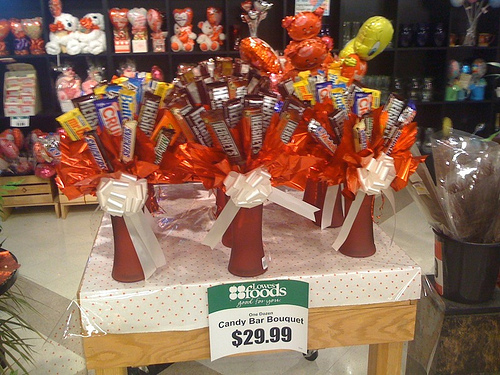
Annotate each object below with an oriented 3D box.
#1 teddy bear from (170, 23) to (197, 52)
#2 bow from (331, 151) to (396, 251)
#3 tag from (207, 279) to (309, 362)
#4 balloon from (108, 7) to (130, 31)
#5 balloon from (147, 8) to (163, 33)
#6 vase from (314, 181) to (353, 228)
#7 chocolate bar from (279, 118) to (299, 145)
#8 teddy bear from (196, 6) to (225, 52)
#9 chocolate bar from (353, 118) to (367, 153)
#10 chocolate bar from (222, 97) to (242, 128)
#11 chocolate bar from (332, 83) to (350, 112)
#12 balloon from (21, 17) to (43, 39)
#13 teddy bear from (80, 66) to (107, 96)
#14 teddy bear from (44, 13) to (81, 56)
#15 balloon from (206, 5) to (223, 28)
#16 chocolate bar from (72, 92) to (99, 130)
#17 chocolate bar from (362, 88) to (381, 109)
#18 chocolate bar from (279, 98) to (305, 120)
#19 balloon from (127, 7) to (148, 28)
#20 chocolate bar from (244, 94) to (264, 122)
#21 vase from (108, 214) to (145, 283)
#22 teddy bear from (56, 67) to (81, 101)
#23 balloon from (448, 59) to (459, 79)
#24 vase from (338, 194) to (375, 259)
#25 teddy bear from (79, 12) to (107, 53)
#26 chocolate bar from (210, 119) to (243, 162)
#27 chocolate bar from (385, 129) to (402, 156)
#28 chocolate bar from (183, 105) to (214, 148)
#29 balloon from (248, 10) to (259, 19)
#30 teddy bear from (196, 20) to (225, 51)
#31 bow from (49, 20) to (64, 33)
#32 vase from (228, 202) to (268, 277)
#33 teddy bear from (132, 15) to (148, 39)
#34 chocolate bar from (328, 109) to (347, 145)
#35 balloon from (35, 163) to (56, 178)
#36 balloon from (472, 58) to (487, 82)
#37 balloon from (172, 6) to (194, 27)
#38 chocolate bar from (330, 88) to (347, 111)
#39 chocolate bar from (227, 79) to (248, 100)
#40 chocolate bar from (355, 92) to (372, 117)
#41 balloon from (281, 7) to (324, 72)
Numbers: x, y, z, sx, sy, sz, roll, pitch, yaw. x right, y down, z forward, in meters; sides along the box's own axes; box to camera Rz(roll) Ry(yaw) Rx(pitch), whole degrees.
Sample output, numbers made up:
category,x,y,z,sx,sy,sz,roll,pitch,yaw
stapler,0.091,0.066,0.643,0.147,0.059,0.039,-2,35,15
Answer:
category,x,y,z,sx,sy,sz,roll,pitch,yaw
teddy bear,-0.614,-1.381,3.393,0.268,0.265,0.187,0,26,-3
bow,0.334,0.046,0.966,0.212,0.293,0.110,-15,24,-29
tag,0.024,0.319,0.907,0.254,0.195,0.041,-5,21,-7
balloon,-1.136,-1.475,3.293,0.263,0.219,0.160,-5,30,-8
balloon,-0.868,-1.524,3.385,0.163,0.174,0.087,25,28,25
vase,0.241,0.046,1.059,0.121,0.146,0.097,-7,21,-12
chocolate bar,0.088,-0.127,0.848,0.037,0.063,0.027,-21,27,-39
teddy bear,-0.345,-1.457,3.420,0.302,0.391,0.146,-19,25,-36
chocolate bar,0.266,-0.116,0.884,0.034,0.072,0.025,2,22,15
chocolate bar,-0.037,-0.157,0.795,0.042,0.062,0.033,-4,20,-1
chocolate bar,0.248,-0.235,0.966,0.019,0.067,0.061,-7,12,-2
balloon,-1.928,-1.394,3.248,0.154,0.139,0.146,-14,28,27
teddy bear,-1.406,-0.950,3.274,0.214,0.230,0.461,-9,19,-16
teddy bear,-1.645,-1.340,3.222,0.270,0.305,0.217,-7,37,-38
balloon,-0.332,-1.565,3.415,0.154,0.187,0.134,-13,22,-25
chocolate bar,-0.363,-0.166,0.819,0.050,0.076,0.078,-12,21,-21
chocolate bar,0.315,-0.224,0.936,0.053,0.046,0.014,-3,9,-41
chocolate bar,0.095,-0.178,0.828,0.053,0.047,0.013,22,3,-1
balloon,-1.005,-1.494,3.289,0.178,0.145,0.160,-15,17,-22
chocolate bar,0.009,-0.176,0.785,0.042,0.034,0.028,1,18,1
vase,-0.307,0.151,0.879,0.084,0.164,0.036,7,24,26
teddy bear,-1.582,-0.890,3.194,0.205,0.276,0.301,-13,22,-26
balloon,2.149,-1.243,3.897,0.106,0.153,0.142,2,2,-41
vase,0.293,0.105,0.975,0.095,0.174,0.040,-9,22,-14
teddy bear,-1.399,-1.351,3.246,0.240,0.333,0.149,-9,21,-16
chocolate bar,-0.050,-0.099,0.775,0.041,0.072,0.055,-6,25,-17
chocolate bar,0.350,-0.111,0.898,0.012,0.077,0.011,17,30,-17
chocolate bar,-0.102,-0.134,0.847,0.070,0.091,0.023,-9,34,34
balloon,0.020,-0.880,1.886,0.041,0.025,0.038,-8,23,-20
teddy bear,-0.362,-1.393,3.424,0.371,0.334,0.185,-2,32,-6
bow,-1.660,-1.374,3.156,0.118,0.100,0.077,-6,20,-8
vase,-0.004,0.113,0.926,0.114,0.195,0.107,-1,0,39
teddy bear,-0.987,-1.442,3.343,0.154,0.192,0.109,-15,23,-29
chocolate bar,0.216,-0.158,0.895,0.046,0.060,0.015,-36,30,-32
balloon,-1.808,-0.140,3.236,0.153,0.129,0.076,5,9,-5
balloon,2.471,-1.244,3.939,0.120,0.226,0.230,13,25,38
balloon,-0.613,-1.543,3.354,0.158,0.175,0.160,-8,20,-14
chocolate bar,0.229,-0.226,0.946,0.040,0.052,0.039,-1,20,5
chocolate bar,-0.027,-0.225,0.851,0.062,0.057,0.044,-4,20,-3
chocolate bar,0.285,-0.201,0.930,0.051,0.082,0.012,-6,35,8
balloon,0.281,-0.737,2.001,0.243,0.417,0.161,1,27,1
